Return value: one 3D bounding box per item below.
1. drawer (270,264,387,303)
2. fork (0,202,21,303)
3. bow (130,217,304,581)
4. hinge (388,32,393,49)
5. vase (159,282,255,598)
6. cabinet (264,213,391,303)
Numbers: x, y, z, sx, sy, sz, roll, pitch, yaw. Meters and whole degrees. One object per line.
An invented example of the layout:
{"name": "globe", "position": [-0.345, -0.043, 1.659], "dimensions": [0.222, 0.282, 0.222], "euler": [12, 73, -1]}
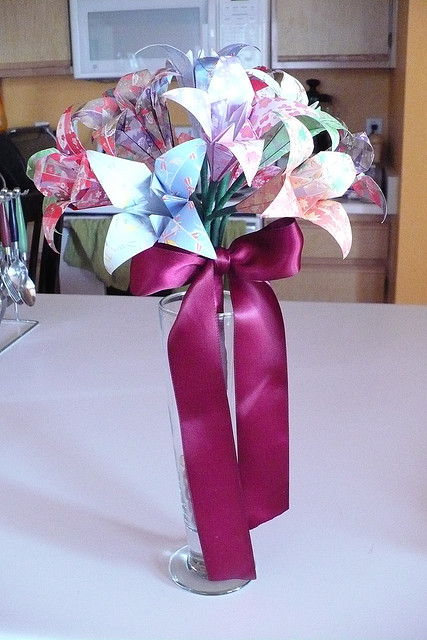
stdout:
{"name": "drawer", "position": [0.694, -0.165, 2.795], "dimensions": [0.185, 0.220, 0.363], "euler": [-16, -8, 39]}
{"name": "fork", "position": [-0.366, -0.118, 0.971], "dimensions": [0.022, 0.179, 0.058], "euler": [-5, 12, -13]}
{"name": "bow", "position": [0.032, 0.061, 0.455], "dimensions": [0.100, 0.288, 0.177], "euler": [8, 16, 40]}
{"name": "hinge", "position": [0.831, -1.314, 2.567], "dimensions": [0.020, 0.067, 0.020], "euler": [1, 13, 17]}
{"name": "vase", "position": [-0.013, 0.093, 0.442], "dimensions": [0.063, 0.250, 0.078], "euler": [-7, 13, -23]}
{"name": "cabinet", "position": [0.614, -0.267, 2.656], "dimensions": [0.711, 0.467, 0.658], "euler": [1, 5, 5]}
